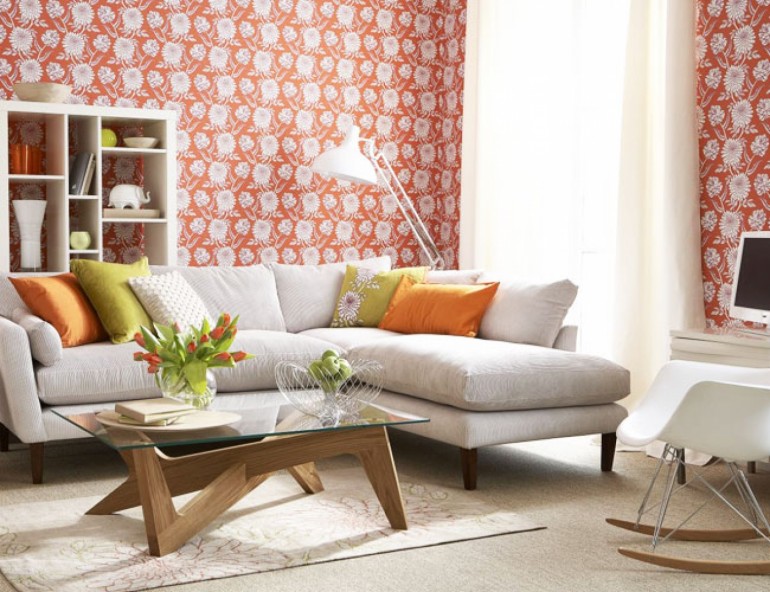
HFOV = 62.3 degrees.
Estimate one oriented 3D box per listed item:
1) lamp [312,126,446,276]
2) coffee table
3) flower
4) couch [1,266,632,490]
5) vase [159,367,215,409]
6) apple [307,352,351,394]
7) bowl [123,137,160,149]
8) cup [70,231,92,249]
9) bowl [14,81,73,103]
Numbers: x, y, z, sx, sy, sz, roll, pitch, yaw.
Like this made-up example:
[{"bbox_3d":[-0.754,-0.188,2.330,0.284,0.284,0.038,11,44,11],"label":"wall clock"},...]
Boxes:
[{"bbox_3d":[-0.002,-0.817,5.012,0.641,1.161,1.362,2,2,22],"label":"lamp"},{"bbox_3d":[-0.530,0.584,2.260,1.024,0.251,0.688,-1,-1,-29],"label":"coffee table"},{"bbox_3d":[-0.729,0.179,2.339,0.339,0.113,0.324,7,-3,-36],"label":"flower"},{"bbox_3d":[-0.135,0.336,3.416,2.283,0.648,1.822,0,0,-35],"label":"couch"},{"bbox_3d":[-0.711,0.350,2.393,0.227,0.145,0.193,0,-3,-22],"label":"vase"},{"bbox_3d":[-0.195,0.292,2.445,0.207,0.132,0.161,-1,-1,21],"label":"apple"},{"bbox_3d":[-1.647,-1.037,4.320,0.173,0.039,0.160,-1,-1,0],"label":"bowl"},{"bbox_3d":[-1.964,-0.354,4.136,0.140,0.120,0.094,0,2,-32],"label":"cup"},{"bbox_3d":[-2.155,-1.270,4.063,0.276,0.072,0.239,0,3,-32],"label":"bowl"}]
